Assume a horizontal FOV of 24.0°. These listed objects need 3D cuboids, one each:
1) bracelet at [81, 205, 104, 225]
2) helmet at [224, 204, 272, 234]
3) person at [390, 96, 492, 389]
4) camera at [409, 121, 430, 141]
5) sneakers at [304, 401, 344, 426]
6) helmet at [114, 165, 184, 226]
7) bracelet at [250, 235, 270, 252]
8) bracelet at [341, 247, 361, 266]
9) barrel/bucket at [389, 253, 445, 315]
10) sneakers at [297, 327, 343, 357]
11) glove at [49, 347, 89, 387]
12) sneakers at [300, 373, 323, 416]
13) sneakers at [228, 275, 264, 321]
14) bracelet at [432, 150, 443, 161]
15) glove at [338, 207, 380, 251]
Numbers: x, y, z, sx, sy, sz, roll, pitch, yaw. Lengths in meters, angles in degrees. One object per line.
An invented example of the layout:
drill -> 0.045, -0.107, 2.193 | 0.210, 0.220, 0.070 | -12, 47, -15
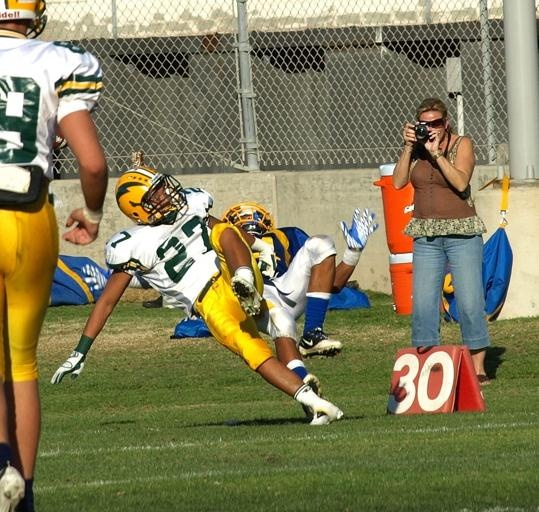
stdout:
bracelet -> -0.756, -0.185, 5.391 | 0.081, 0.088, 0.065 | 10, 15, -3
helmet -> -0.150, -0.240, 8.847 | 0.217, 0.230, 0.251 | -15, -27, 34
person -> 0.986, -0.105, 7.429 | 0.516, 1.659, 0.467 | -3, 4, 5
camera -> 0.866, -0.731, 7.327 | 0.070, 0.105, 0.040 | 1, 21, 7
sneakers -> 0.270, 0.835, 6.594 | 0.172, 0.087, 0.127 | -3, -21, 0
helmet -> -0.714, -0.383, 7.358 | 0.418, 0.274, 0.295 | 2, 20, 24
bracelet -> -0.063, -0.075, 7.257 | 0.089, 0.043, 0.072 | 5, 21, -15
bracelet -> 0.495, 0.012, 7.755 | 0.087, 0.104, 0.109 | 32, -3, -11
barrel/bucket -> 1.306, 0.248, 10.979 | 0.401, 0.691, 0.423 | 0, -5, 0
sneakers -> 0.261, 0.502, 7.326 | 0.293, 0.187, 0.117 | -8, 0, 36
glove -> -1.084, 0.610, 6.794 | 0.138, 0.262, 0.086 | 32, 6, 0
sneakers -> 0.227, 0.751, 6.779 | 0.072, 0.199, 0.142 | -8, -34, -16
sneakers -> -0.133, 0.149, 6.477 | 0.159, 0.307, 0.117 | -2, -19, -2
bracelet -> 0.954, -0.591, 7.333 | 0.057, 0.049, 0.045 | -3, 4, 5
glove -> 0.505, -0.139, 7.723 | 0.090, 0.306, 0.379 | -20, -9, -3
